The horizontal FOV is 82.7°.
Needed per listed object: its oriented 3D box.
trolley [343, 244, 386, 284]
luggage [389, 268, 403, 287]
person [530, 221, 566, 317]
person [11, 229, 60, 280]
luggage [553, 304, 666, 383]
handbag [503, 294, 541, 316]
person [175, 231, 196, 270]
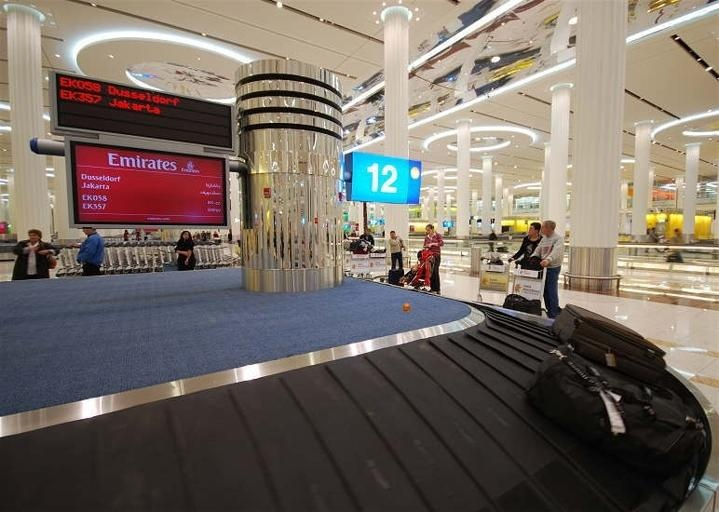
[{"bbox_3d":[0.093,0.156,8.001,0.723,0.427,0.726,1,2,31],"label":"trolley"},{"bbox_3d":[0.762,0.444,8.504,0.264,0.252,0.140,11,-20,-31],"label":"luggage"},{"bbox_3d":[2.811,0.210,6.091,0.438,1.474,0.788,5,9,26],"label":"person"},{"bbox_3d":[-5.101,-0.030,6.366,0.597,0.751,0.669,-6,11,-39],"label":"person"},{"bbox_3d":[1.645,0.574,2.669,0.531,0.193,0.484,24,-2,37],"label":"luggage"},{"bbox_3d":[2.038,0.610,5.073,0.247,0.223,0.137,8,12,24],"label":"handbag"},{"bbox_3d":[-3.523,-0.099,8.204,0.327,0.809,0.826,-3,9,-24],"label":"person"}]
